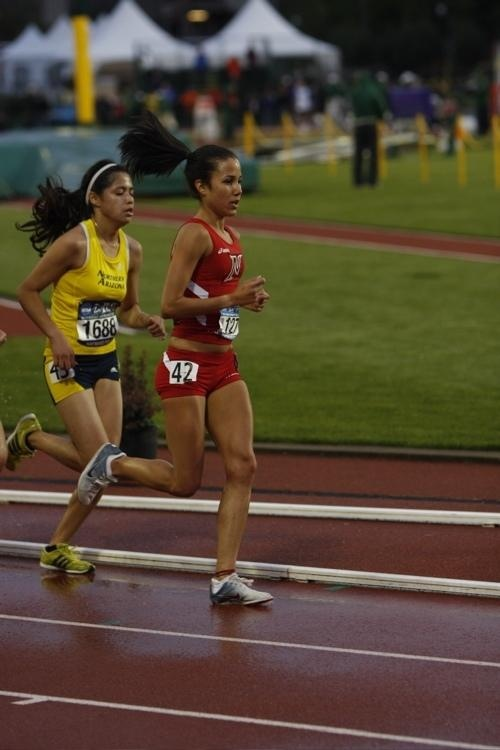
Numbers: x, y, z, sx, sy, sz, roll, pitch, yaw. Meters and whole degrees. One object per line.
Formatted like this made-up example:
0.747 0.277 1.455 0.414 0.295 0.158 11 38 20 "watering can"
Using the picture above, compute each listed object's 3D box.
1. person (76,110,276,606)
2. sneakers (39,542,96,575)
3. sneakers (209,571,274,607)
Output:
-0.272 -0.002 3.436 0.707 1.910 0.433 -1 3 4 "person"
-0.854 0.850 3.993 0.322 0.131 0.108 7 11 11 "sneakers"
-0.051 0.890 3.521 0.299 0.126 0.107 2 6 0 "sneakers"
